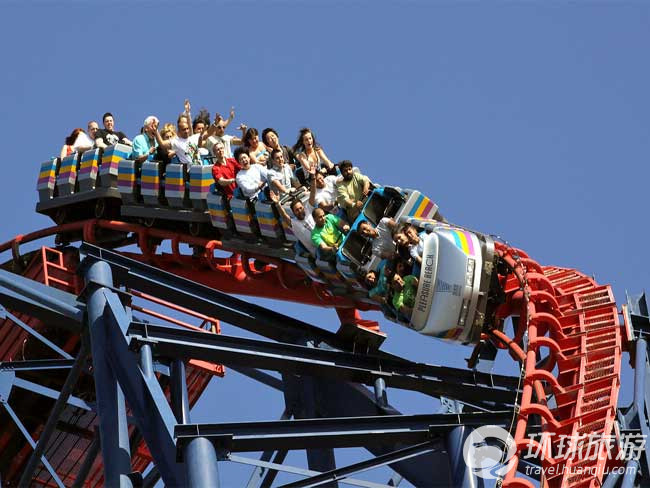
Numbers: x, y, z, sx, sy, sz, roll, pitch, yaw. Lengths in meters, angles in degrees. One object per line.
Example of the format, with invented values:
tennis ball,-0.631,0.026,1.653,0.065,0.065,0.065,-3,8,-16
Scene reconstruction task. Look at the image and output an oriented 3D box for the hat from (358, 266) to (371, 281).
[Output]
hat,0.512,0.416,14.443,0.102,0.256,0.245,4,-25,-10
